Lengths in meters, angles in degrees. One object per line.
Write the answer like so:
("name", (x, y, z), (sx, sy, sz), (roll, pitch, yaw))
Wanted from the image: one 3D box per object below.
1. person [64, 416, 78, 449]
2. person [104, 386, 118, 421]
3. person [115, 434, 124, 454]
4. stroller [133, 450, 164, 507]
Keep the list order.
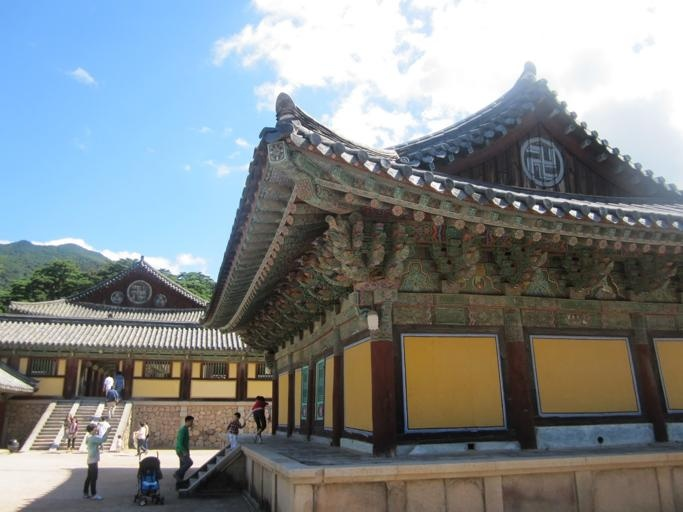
("person", (-13.609, 8.802, 24.181), (0.549, 1.471, 1.863), (8, -14, -27))
("person", (-13.042, 8.230, 27.298), (0.711, 1.573, 1.495), (7, -14, -23))
("person", (-11.582, 9.614, 24.880), (0.423, 0.752, 1.451), (7, -14, -23))
("stroller", (-4.250, 4.959, 10.694), (0.609, 0.943, 0.947), (6, -14, -21))
